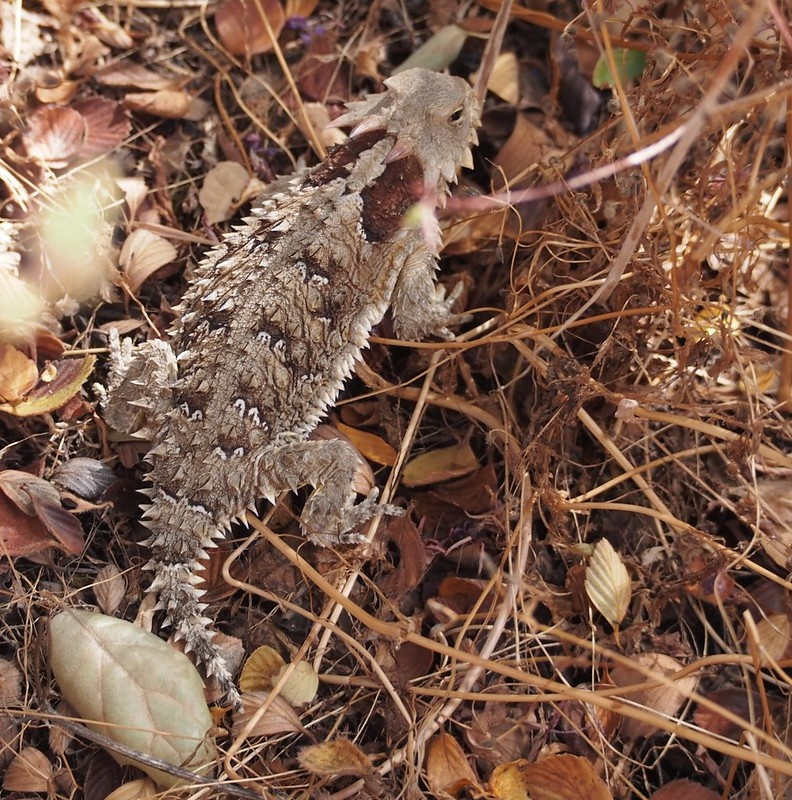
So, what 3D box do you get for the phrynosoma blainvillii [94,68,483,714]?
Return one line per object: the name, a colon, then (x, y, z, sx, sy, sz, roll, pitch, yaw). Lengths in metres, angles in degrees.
phrynosoma blainvillii: (-0.247, -0.096, 2.131, 0.735, 0.972, 1.282, 23, 46, 13)
